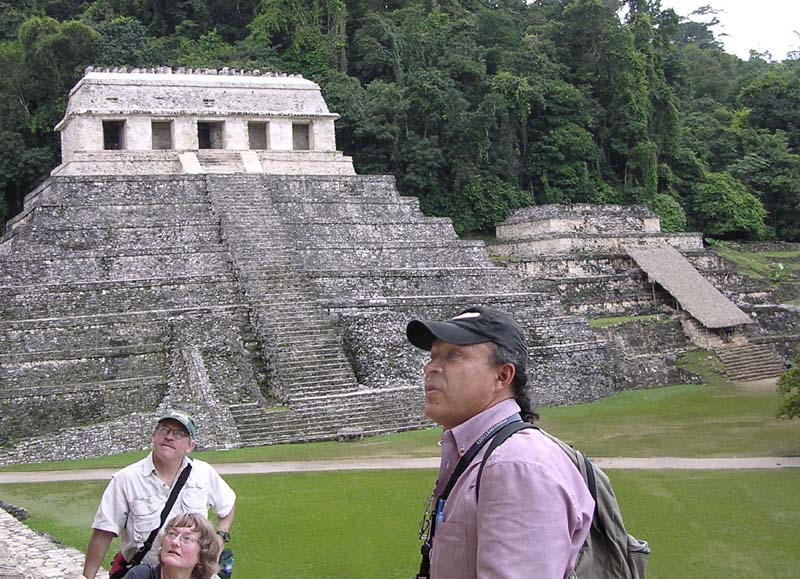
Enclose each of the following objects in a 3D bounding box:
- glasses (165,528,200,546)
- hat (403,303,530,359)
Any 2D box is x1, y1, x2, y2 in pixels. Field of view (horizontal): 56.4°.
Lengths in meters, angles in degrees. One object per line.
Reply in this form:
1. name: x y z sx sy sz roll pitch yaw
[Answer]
1. glasses: -1.649 1.907 5.721 0.246 0.112 0.065 -7 -1 -1
2. hat: 0.402 0.254 4.540 0.551 0.203 0.348 8 -4 -14
